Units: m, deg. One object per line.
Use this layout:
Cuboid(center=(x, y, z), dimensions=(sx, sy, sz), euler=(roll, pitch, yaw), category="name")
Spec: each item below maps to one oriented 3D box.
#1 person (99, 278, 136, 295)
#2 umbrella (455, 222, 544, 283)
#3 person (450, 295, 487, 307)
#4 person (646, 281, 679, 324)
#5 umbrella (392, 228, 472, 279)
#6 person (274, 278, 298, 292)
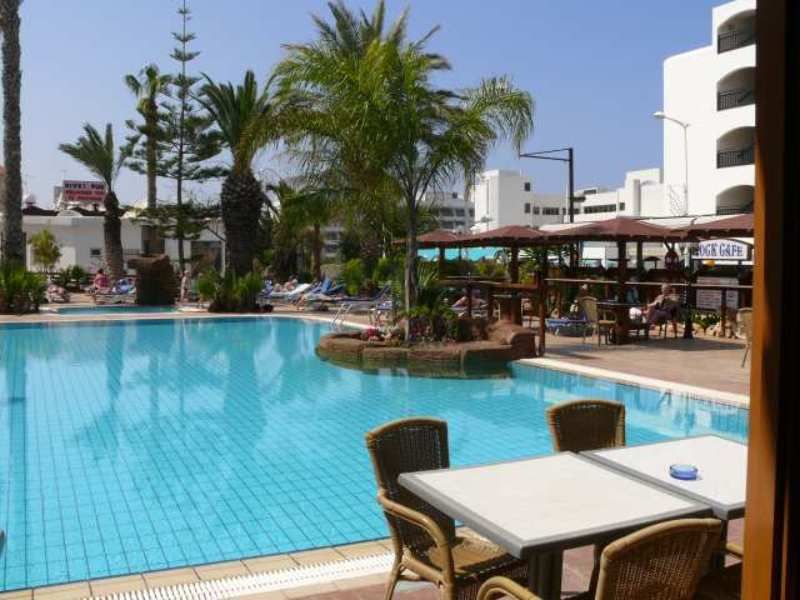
Cuboid(center=(-11.003, -0.479, 27.355), dimensions=(1.422, 0.668, 1.069), euler=(-2, 0, 7), category="person")
Cuboid(center=(2.481, -1.289, 16.329), dimensions=(1.525, 1.453, 1.607), euler=(2, 7, 31), category="umbrella")
Cuboid(center=(2.180, 0.060, 21.402), dimensions=(0.436, 0.227, 0.704), euler=(-3, -5, 44), category="person")
Cuboid(center=(5.803, 0.102, 15.647), dimensions=(0.600, 0.944, 1.433), euler=(0, 2, 23), category="person")
Cuboid(center=(0.772, -1.473, 18.109), dimensions=(1.575, 1.076, 1.576), euler=(-5, 9, -27), category="umbrella")
Cuboid(center=(-4.689, -0.571, 29.360), dimensions=(1.003, 0.373, 1.032), euler=(0, 1, 43), category="person")
